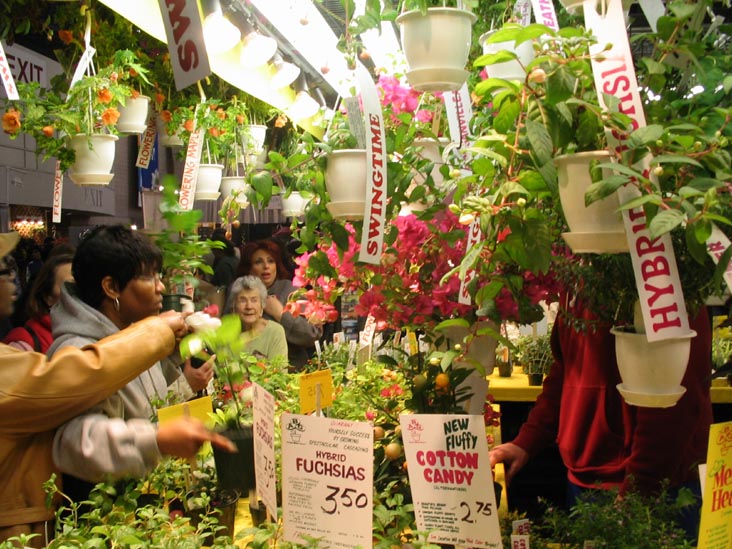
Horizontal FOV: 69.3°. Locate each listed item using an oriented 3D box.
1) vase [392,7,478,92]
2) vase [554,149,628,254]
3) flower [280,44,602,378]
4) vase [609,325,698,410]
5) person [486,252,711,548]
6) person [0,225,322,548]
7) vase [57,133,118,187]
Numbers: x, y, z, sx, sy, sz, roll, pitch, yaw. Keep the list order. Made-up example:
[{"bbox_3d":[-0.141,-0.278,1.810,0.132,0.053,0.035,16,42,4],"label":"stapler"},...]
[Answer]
[{"bbox_3d":[0.226,-0.693,1.728,0.243,0.189,0.244,-1,3,-1],"label":"vase"},{"bbox_3d":[0.568,-0.180,1.327,0.142,0.252,0.157,-2,-1,38],"label":"vase"},{"bbox_3d":[0.287,-0.170,1.731,0.864,0.773,0.877,-5,-1,27],"label":"flower"},{"bbox_3d":[0.757,0.242,1.424,0.220,0.206,0.222,-3,3,-23],"label":"vase"},{"bbox_3d":[1.168,0.495,2.851,0.987,1.640,1.193,6,-3,-15],"label":"person"},{"bbox_3d":[-0.912,0.239,2.627,1.027,1.873,0.903,-3,5,-17],"label":"person"},{"bbox_3d":[-1.504,-0.616,2.893,0.260,0.259,0.252,-6,11,-35],"label":"vase"}]
